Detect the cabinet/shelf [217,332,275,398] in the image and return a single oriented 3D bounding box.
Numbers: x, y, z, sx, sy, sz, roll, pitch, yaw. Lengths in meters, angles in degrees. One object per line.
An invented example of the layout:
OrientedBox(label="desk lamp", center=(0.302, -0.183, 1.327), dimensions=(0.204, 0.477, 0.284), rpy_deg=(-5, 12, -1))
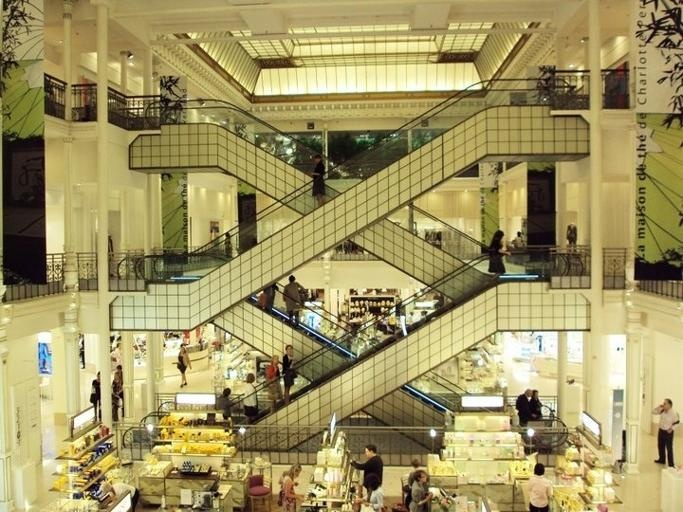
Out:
OrientedBox(label="cabinet/shelf", center=(-3.414, 3.664, 27.692), dimensions=(1.388, 1.283, 2.759), rpy_deg=(0, 5, 1))

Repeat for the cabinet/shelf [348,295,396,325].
OrientedBox(label="cabinet/shelf", center=(1.066, 2.296, 34.028), dimensions=(1.932, 1.241, 1.263), rpy_deg=(-2, -1, 0))

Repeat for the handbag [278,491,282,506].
OrientedBox(label="handbag", center=(-1.479, 5.811, 19.678), dimensions=(0.064, 0.368, 0.209), rpy_deg=(1, 4, -27))

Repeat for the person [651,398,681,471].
OrientedBox(label="person", center=(8.651, 4.689, 21.740), dimensions=(0.548, 1.864, 0.898), rpy_deg=(4, 3, 23))

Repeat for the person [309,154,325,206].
OrientedBox(label="person", center=(-0.679, -2.200, 23.503), dimensions=(0.414, 1.474, 0.731), rpy_deg=(2, 3, -4))

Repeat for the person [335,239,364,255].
OrientedBox(label="person", center=(0.275, -0.254, 29.551), dimensions=(1.026, 0.446, 0.334), rpy_deg=(3, 3, -2))
